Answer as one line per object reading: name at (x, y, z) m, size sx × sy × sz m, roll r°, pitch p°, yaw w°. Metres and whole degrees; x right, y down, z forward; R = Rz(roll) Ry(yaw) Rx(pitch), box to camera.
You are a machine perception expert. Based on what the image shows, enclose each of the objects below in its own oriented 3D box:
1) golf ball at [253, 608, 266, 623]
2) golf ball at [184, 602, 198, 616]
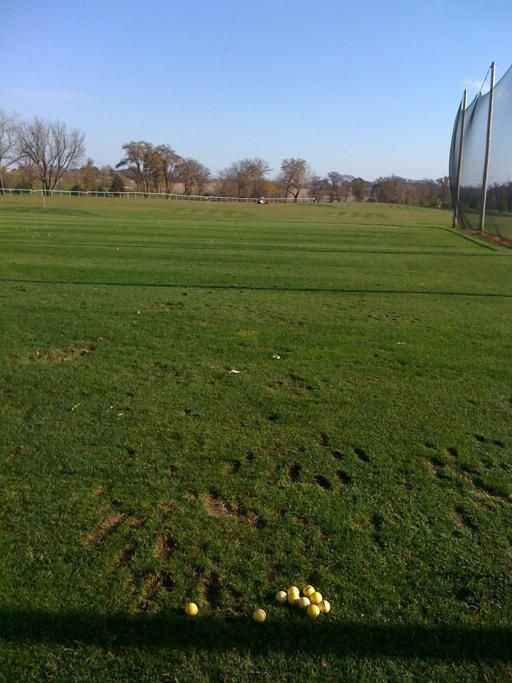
golf ball at (0.019, 1.460, 2.692) m, size 0.055 × 0.058 × 0.071 m, roll -8°, pitch 53°, yaw -4°
golf ball at (-0.345, 1.437, 2.713) m, size 0.078 × 0.055 × 0.056 m, roll -2°, pitch 15°, yaw -16°
